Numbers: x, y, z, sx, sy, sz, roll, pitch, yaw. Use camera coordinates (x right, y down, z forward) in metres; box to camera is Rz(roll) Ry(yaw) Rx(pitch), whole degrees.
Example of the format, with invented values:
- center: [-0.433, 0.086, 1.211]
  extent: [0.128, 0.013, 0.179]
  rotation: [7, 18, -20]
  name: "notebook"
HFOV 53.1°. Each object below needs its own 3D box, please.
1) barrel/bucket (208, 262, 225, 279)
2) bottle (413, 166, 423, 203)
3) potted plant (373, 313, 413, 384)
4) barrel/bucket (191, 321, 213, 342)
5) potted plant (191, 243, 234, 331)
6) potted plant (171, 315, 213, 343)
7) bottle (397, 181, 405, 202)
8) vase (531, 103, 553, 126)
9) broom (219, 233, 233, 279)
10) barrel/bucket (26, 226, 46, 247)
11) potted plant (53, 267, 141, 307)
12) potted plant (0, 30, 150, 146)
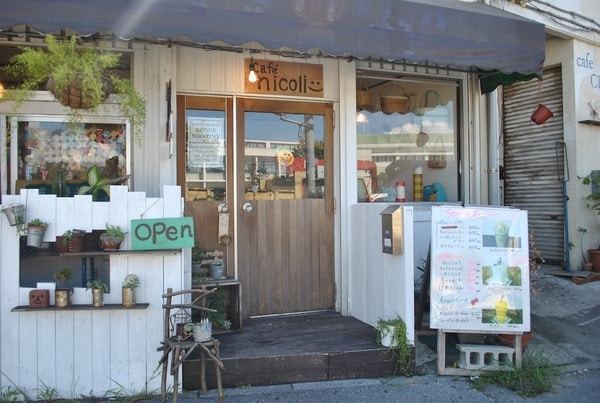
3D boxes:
- center: [-1.065, 0.885, 7.688]
  extent: [0.187, 0.171, 0.150]
  rotation: [4, -2, -28]
  name: "barrel/bucket"
- center: [1.739, -0.261, 8.784]
  extent: [0.196, 0.474, 0.083]
  rotation: [-1, -1, -31]
  name: "bottle"
- center: [1.144, 1.739, 7.063]
  extent: [0.506, 0.952, 0.538]
  rotation: [-1, 6, 3]
  name: "potted plant"
- center: [-1.068, 1.424, 6.544]
  extent: [0.169, 0.164, 0.201]
  rotation: [-1, -10, 1]
  name: "barrel/bucket"
- center: [-1.087, 1.078, 7.690]
  extent: [0.565, 0.866, 0.487]
  rotation: [-2, 0, -12]
  name: "potted plant"
- center: [-1.188, 1.395, 6.592]
  extent: [0.364, 0.279, 0.239]
  rotation: [-2, -4, 7]
  name: "potted plant"
- center: [1.461, -0.144, 8.687]
  extent: [0.162, 0.262, 0.052]
  rotation: [-2, -1, -34]
  name: "bottle"
- center: [3.513, -1.281, 8.750]
  extent: [0.270, 0.327, 0.208]
  rotation: [-2, 0, 22]
  name: "vase"
- center: [-0.941, 0.728, 7.996]
  extent: [0.053, 0.618, 0.137]
  rotation: [0, 3, 8]
  name: "broom"
- center: [-2.900, 0.375, 6.625]
  extent: [0.206, 0.240, 0.201]
  rotation: [6, -8, 1]
  name: "barrel/bucket"
- center: [-2.265, 0.968, 6.735]
  extent: [0.928, 0.304, 0.183]
  rotation: [-2, 0, -2]
  name: "potted plant"
- center: [-2.648, -1.374, 7.074]
  extent: [1.554, 0.903, 0.998]
  rotation: [-2, 0, -12]
  name: "potted plant"
